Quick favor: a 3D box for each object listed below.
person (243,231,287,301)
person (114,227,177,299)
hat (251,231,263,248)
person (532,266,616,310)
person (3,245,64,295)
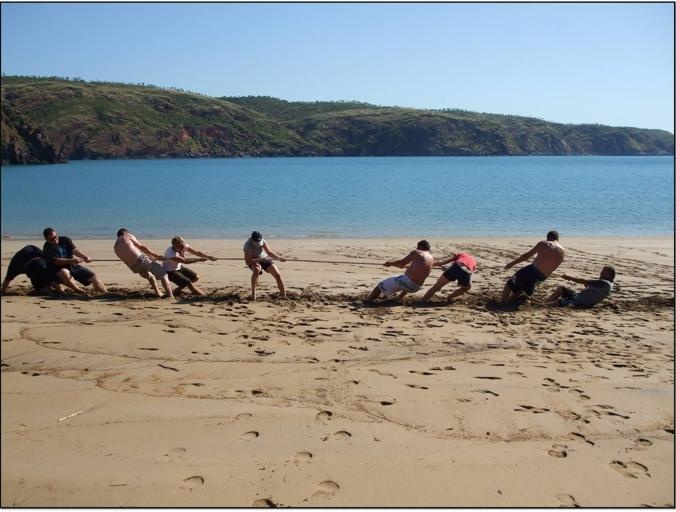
[{"bbox_3d":[-1.333,0.141,11.711,0.762,1.207,1.204,0,13,-6],"label":"person"},{"bbox_3d":[-3.587,0.123,11.734,1.370,1.145,0.468,9,16,32],"label":"person"},{"bbox_3d":[-1.481,-0.344,11.674,0.273,0.289,0.180,-9,-25,-20],"label":"hat"},{"bbox_3d":[4.445,0.642,11.562,0.824,1.231,0.538,41,3,15],"label":"person"},{"bbox_3d":[-5.614,0.238,11.583,1.110,0.820,0.410,1,14,-3],"label":"person"}]
